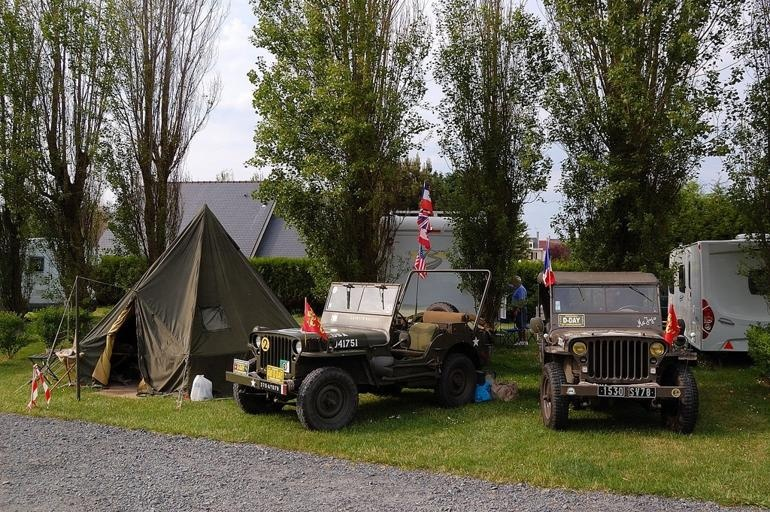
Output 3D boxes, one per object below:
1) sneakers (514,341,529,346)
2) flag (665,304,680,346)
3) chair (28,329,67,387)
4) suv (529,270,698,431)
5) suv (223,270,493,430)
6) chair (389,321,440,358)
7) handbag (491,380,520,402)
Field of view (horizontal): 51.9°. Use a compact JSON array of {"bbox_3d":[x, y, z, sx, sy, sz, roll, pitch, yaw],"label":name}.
[{"bbox_3d":[4.405,2.827,25.497,0.437,0.200,0.161,1,-8,-5],"label":"sneakers"},{"bbox_3d":[6.018,1.493,16.679,0.317,0.954,0.299,9,-12,3],"label":"flag"},{"bbox_3d":[-8.698,2.610,20.195,0.581,0.860,0.536,2,15,-32],"label":"chair"},{"bbox_3d":[5.235,2.249,18.986,3.043,3.777,6.024,1,-4,5],"label":"suv"},{"bbox_3d":[-0.368,2.294,18.315,5.172,3.207,3.229,5,-7,-39],"label":"suv"},{"bbox_3d":[0.503,1.958,18.590,1.600,0.756,1.273,1,-1,-34],"label":"chair"},{"bbox_3d":[2.867,3.217,18.752,0.356,0.308,0.538,3,2,-36],"label":"handbag"}]
